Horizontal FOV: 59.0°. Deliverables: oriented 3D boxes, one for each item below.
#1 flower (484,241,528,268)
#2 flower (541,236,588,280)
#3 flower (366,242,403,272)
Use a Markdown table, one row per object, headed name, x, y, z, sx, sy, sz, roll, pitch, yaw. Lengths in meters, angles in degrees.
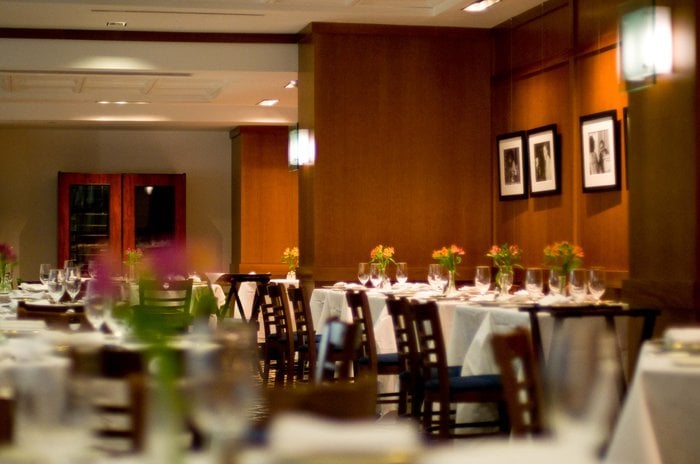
| name | x | y | z | sx | sy | sz | roll | pitch | yaw |
| --- | --- | --- | --- | --- | --- | --- | --- | --- | --- |
| flower | 1.689 | 0.229 | 6.578 | 0.321 | 0.359 | 0.339 | -3 | 3 | -5 |
| flower | 1.613 | 0.219 | 4.590 | 0.272 | 0.288 | 0.257 | 18 | 16 | 39 |
| flower | 0.353 | 0.270 | 6.428 | 0.305 | 0.344 | 0.324 | 1 | 3 | 12 |
